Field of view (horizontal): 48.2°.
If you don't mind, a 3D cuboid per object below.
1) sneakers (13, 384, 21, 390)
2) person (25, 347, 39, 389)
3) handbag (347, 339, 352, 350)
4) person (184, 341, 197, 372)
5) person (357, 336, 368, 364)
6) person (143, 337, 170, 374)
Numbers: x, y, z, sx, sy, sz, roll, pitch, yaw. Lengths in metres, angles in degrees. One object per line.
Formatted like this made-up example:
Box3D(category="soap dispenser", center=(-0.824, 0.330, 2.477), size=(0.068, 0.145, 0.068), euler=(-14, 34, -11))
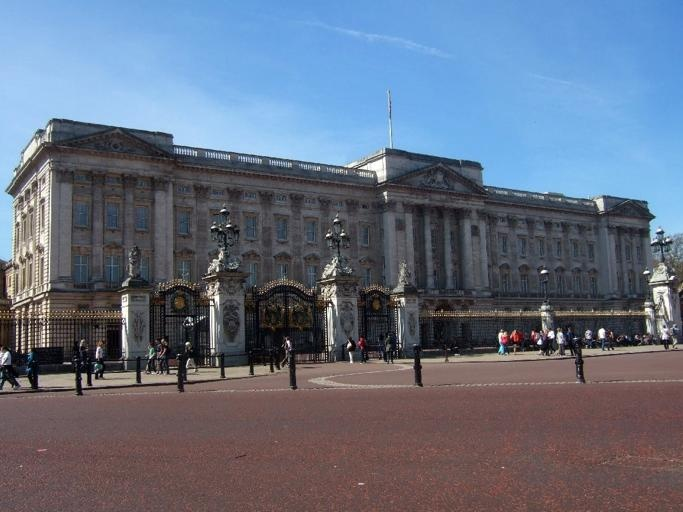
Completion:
Box3D(category="sneakers", center=(-10.233, 4.153, 24.155), size=(0.117, 0.165, 0.366), euler=(0, 0, 0))
Box3D(category="person", center=(-10.129, 3.710, 25.173), size=(0.359, 1.358, 2.456), euler=(1, -9, -22))
Box3D(category="handbag", center=(0.382, 4.010, 34.676), size=(0.321, 0.484, 0.360), euler=(-5, -9, 23))
Box3D(category="person", center=(-6.095, 4.135, 31.185), size=(0.471, 1.187, 2.456), euler=(0, -8, -11))
Box3D(category="person", center=(0.981, 4.296, 34.871), size=(0.370, 1.060, 0.594), euler=(-1, -8, -3))
Box3D(category="person", center=(-7.240, 3.929, 30.267), size=(0.849, 1.483, 1.770), euler=(2, -9, -22))
